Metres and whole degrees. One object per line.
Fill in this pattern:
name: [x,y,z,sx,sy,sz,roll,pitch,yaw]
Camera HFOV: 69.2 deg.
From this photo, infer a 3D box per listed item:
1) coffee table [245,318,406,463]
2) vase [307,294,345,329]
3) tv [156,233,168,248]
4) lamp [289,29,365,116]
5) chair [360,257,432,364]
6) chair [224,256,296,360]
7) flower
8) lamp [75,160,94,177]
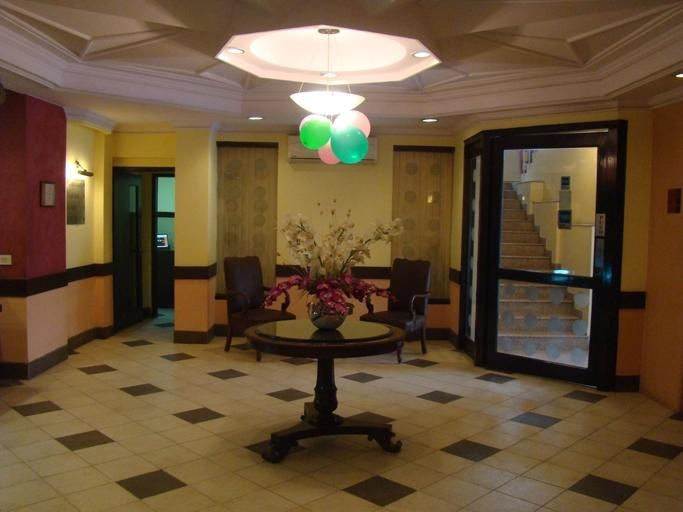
coffee table: [-0.180,1.207,4.545,1.233,0.808,1.135,0,1,-11]
vase: [-0.075,0.544,4.564,0.345,0.308,0.312,7,-1,0]
tv: [-3.624,-0.296,10.002,0.213,0.253,0.294,0,6,-13]
lamp: [-0.268,-1.757,5.114,0.793,0.842,0.783,0,7,-20]
chair: [0.749,0.732,7.052,1.053,1.273,0.994,1,6,11]
chair: [-1.167,0.679,7.055,0.928,1.230,0.983,-1,4,-40]
flower: [-0.236,0.133,4.588,1.008,0.864,1.251,-5,22,-35]
lamp: [-3.703,-1.245,7.098,0.103,0.225,0.437,0,6,-9]
